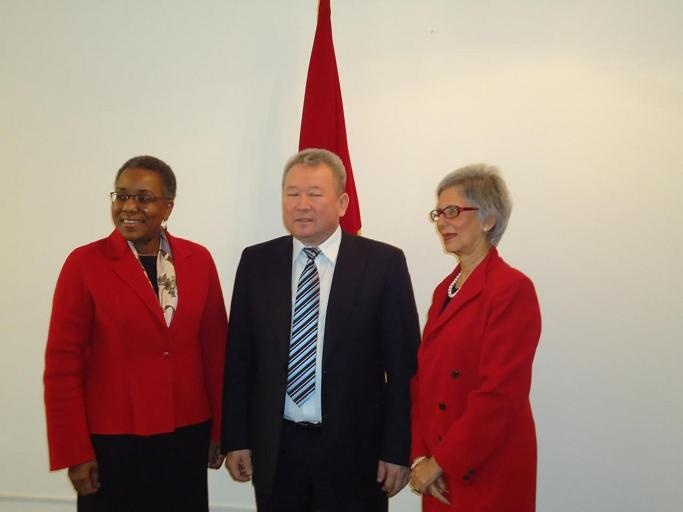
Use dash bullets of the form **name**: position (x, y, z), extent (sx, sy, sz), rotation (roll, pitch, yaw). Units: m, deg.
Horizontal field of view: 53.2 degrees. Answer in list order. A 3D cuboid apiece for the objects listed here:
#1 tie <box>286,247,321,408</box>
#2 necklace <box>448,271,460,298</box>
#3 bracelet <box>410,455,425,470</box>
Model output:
- **tie**: position (-0.182, 0.336, 3.319), extent (0.152, 0.763, 0.075), rotation (0, -4, -2)
- **necklace**: position (0.551, 0.145, 3.408), extent (0.030, 0.072, 0.103), rotation (8, 39, -1)
- **bracelet**: position (0.365, 0.983, 3.254), extent (0.027, 0.068, 0.050), rotation (37, 2, -25)
